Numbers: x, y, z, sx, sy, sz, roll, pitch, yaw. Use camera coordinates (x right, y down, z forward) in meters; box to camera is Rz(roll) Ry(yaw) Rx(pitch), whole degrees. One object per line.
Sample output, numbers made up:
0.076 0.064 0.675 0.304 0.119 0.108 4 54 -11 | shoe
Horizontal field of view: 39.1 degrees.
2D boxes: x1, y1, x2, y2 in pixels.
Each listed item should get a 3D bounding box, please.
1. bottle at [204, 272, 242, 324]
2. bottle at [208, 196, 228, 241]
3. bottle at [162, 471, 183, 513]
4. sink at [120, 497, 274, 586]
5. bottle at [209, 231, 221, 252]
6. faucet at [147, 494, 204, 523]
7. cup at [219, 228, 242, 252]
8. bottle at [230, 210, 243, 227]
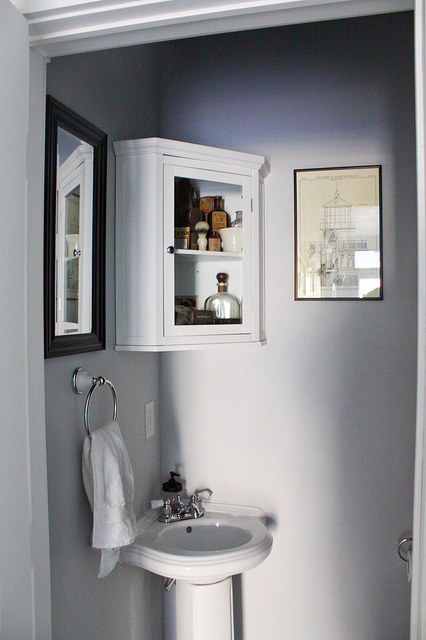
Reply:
0.032 -0.062 1.855 0.115 0.256 0.134 0 -2 -5 | bottle
0.015 -0.304 1.749 0.069 0.116 0.012 -1 1 -39 | bottle
-0.132 0.545 1.886 0.055 0.144 0.057 4 12 -1 | bottle
-0.033 0.688 1.776 0.411 0.205 0.505 0 1 7 | sink
0.004 -0.230 1.741 0.041 0.085 0.045 0 -5 0 | bottle
-0.107 0.571 1.859 0.066 0.091 0.204 -7 -12 41 | faucet
0.053 -0.234 1.768 0.060 0.062 0.061 -1 0 0 | cup
0.075 -0.300 1.773 0.037 0.049 0.041 2 2 30 | bottle
